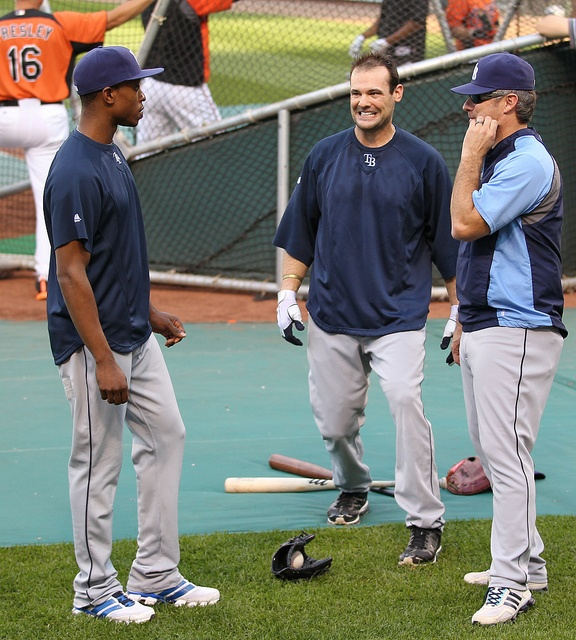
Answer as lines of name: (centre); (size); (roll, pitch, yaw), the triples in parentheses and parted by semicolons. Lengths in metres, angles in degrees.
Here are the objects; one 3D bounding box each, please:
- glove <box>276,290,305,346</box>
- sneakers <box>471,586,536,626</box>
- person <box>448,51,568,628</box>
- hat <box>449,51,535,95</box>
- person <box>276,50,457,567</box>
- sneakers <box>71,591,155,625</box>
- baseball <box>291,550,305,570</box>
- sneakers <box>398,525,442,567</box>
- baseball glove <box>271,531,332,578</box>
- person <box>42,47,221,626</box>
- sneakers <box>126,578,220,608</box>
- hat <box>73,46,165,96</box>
glove: (0.010, -0.008, 5.508); (0.061, 0.203, 0.212); (-6, -3, -35)
sneakers: (0.812, 1.048, 4.598); (0.233, 0.105, 0.099); (-18, 10, -42)
person: (0.848, 0.042, 4.680); (0.432, 2.085, 0.661); (-1, 9, 7)
hat: (0.814, -0.949, 4.768); (0.277, 0.132, 0.167); (2, 16, 7)
person: (0.332, -0.079, 5.230); (0.807, 2.070, 0.798); (-1, 9, 4)
sneakers: (-0.644, 1.062, 4.568); (0.279, 0.093, 0.114); (-1, 3, 7)
baseball: (0.042, 0.953, 4.881); (0.034, 0.060, 0.060); (-3, 39, 39)
sneakers: (0.546, 0.925, 5.065); (0.161, 0.121, 0.193); (0, 8, 10)
baseball glove: (0.070, 0.954, 4.923); (0.206, 0.084, 0.232); (19, 45, 13)
person: (-0.619, 0.042, 4.638); (0.549, 2.108, 0.502); (-6, 10, -23)
sneakers: (-0.441, 1.031, 4.698); (0.321, 0.135, 0.122); (-2, 0, -2)
hat: (-0.641, -0.917, 4.621); (0.269, 0.126, 0.159); (-16, 14, -13)
